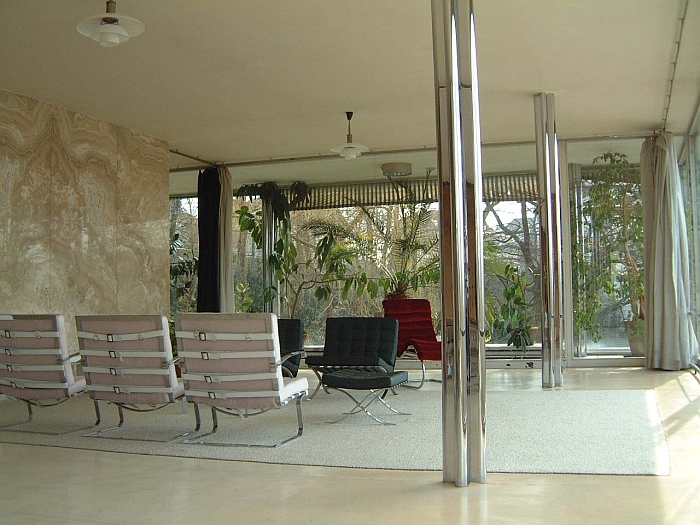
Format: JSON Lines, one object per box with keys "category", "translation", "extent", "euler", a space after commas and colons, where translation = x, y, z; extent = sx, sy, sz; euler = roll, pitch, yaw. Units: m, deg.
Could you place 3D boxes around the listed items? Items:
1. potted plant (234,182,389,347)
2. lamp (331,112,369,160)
{"category": "potted plant", "translation": [-0.658, -0.261, 11.224], "extent": [2.437, 2.826, 2.363], "euler": [4, -13, -24]}
{"category": "lamp", "translation": [0.006, -1.752, 8.165], "extent": [0.596, 0.642, 0.606], "euler": [-1, 1, -2]}
